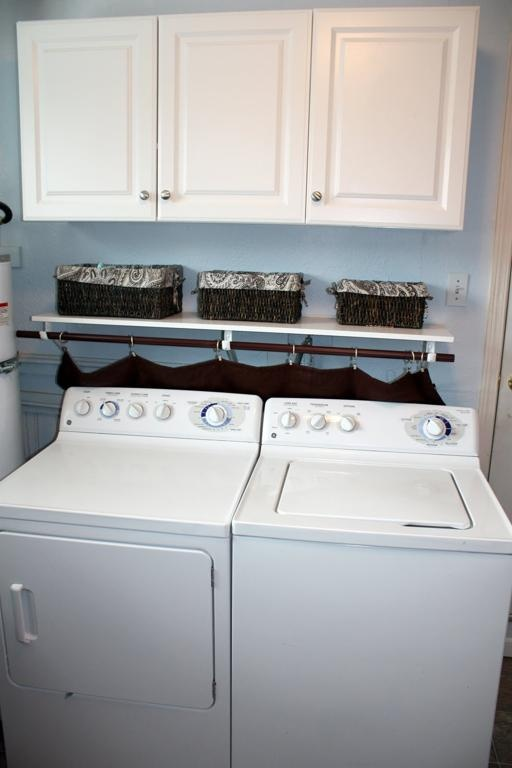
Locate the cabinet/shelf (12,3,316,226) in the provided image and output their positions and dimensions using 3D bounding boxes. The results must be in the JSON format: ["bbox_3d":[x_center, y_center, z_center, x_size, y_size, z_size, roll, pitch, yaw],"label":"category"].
[{"bbox_3d":[-0.257,-0.752,1.778,0.827,0.545,0.314,3,8,10],"label":"cabinet/shelf"}]

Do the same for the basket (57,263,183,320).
[{"bbox_3d":[-0.446,-0.288,1.911,0.293,0.133,0.206,4,12,6],"label":"basket"}]
